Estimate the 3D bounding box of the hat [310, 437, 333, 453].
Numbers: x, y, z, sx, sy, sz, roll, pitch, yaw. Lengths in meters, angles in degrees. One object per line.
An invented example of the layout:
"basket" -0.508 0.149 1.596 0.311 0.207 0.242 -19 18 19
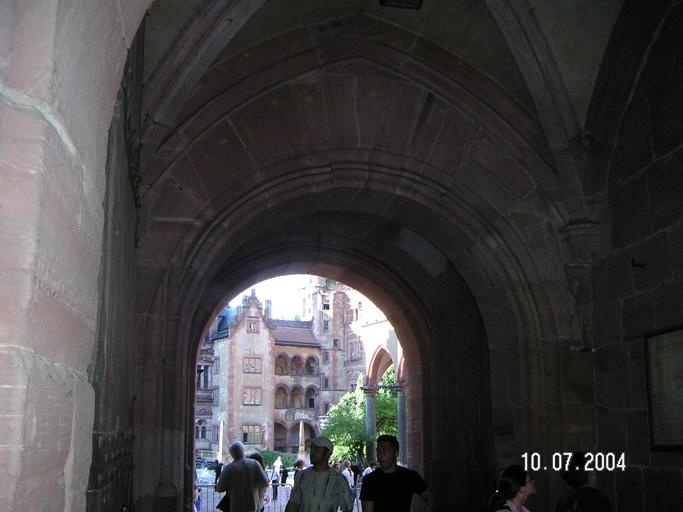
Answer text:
"hat" -0.146 1.376 4.846 0.166 0.142 0.298 2 -24 -2
